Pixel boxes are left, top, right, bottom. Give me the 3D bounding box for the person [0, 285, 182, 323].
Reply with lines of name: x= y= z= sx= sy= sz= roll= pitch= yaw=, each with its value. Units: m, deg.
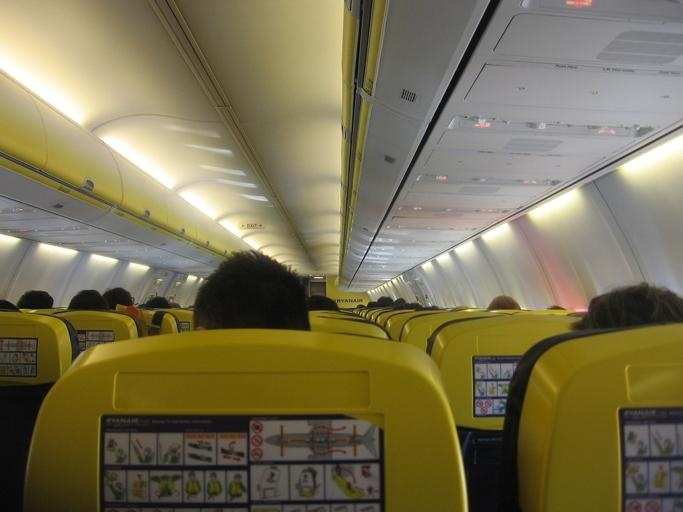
person: x=-3.315 y=0.618 z=6.321 sx=1.267 sy=0.446 sz=0.406 roll=7 pitch=20 yaw=-7
